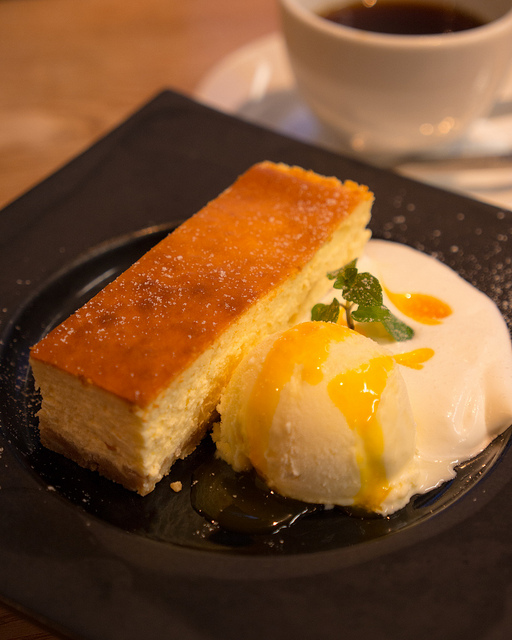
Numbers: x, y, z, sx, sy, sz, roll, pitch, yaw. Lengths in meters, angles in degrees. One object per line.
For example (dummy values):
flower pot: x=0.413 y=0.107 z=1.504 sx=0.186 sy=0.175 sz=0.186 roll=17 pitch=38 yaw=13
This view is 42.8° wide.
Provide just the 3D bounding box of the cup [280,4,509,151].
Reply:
cup: x=0.456 y=-0.705 z=2.031 sx=0.565 sy=0.354 sz=0.520 roll=-2 pitch=40 yaw=2
